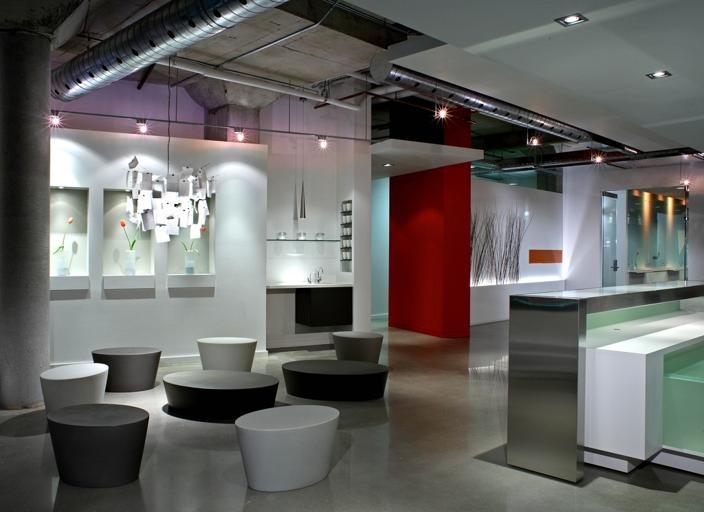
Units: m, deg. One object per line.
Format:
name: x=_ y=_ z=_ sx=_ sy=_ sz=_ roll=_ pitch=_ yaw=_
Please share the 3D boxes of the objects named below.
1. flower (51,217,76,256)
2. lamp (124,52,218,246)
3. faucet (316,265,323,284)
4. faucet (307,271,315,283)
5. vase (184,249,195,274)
flower: x=-4.592 y=-0.315 z=8.040 sx=0.211 sy=0.600 sz=0.265 roll=1 pitch=4 yaw=7
lamp: x=-2.976 y=-1.094 z=8.350 sx=1.346 sy=1.786 sz=0.742 roll=-1 pitch=4 yaw=-24
faucet: x=-0.642 y=0.382 z=10.394 sx=0.181 sy=0.323 sz=0.237 roll=0 pitch=4 yaw=-13
faucet: x=-0.832 y=0.444 z=10.353 sx=0.173 sy=0.202 sz=0.160 roll=0 pitch=4 yaw=-10
vase: x=-2.796 y=0.095 z=8.768 sx=0.154 sy=0.419 sz=0.234 roll=-1 pitch=4 yaw=-19
